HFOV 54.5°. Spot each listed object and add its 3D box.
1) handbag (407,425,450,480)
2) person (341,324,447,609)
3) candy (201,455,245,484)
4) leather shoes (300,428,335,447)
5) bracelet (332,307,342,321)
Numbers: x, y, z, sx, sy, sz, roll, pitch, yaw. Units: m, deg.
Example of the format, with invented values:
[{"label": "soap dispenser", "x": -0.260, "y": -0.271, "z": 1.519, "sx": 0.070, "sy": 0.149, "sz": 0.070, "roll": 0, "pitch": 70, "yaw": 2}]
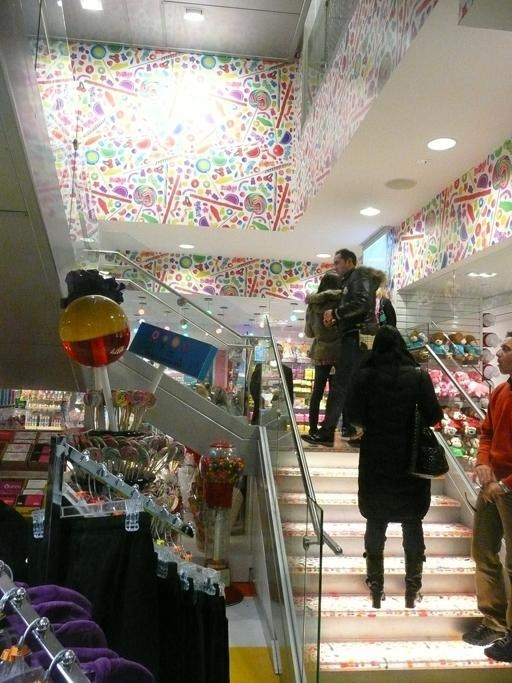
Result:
[{"label": "handbag", "x": 0.887, "y": 0.568, "z": 2.575, "sx": 0.170, "sy": 0.239, "sz": 0.169, "roll": -2, "pitch": 3, "yaw": -23}, {"label": "person", "x": 0.775, "y": 0.718, "z": 2.750, "sx": 0.426, "sy": 1.610, "sz": 0.391, "roll": 1, "pitch": 3, "yaw": 34}, {"label": "candy", "x": -0.280, "y": 1.015, "z": 4.069, "sx": 0.285, "sy": 0.182, "sz": 0.232, "roll": -1, "pitch": -4, "yaw": 19}, {"label": "leather shoes", "x": 0.493, "y": 0.812, "z": 4.260, "sx": 0.334, "sy": 0.148, "sz": 0.118, "roll": 5, "pitch": -9, "yaw": 16}, {"label": "bracelet", "x": 0.647, "y": -0.225, "z": 3.985, "sx": 0.090, "sy": 0.084, "sz": 0.082, "roll": 8, "pitch": 19, "yaw": -16}]
